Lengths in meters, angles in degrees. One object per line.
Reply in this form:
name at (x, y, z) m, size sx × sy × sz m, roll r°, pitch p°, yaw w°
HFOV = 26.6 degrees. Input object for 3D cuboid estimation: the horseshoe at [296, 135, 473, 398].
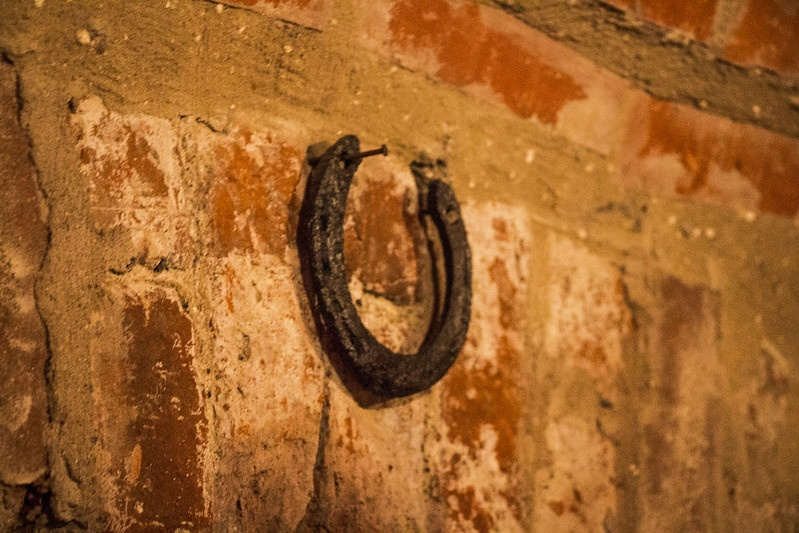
horseshoe at (-0.082, 0.022, 5.681) m, size 0.630 × 0.863 × 0.214 m, roll 4°, pitch -18°, yaw -40°
